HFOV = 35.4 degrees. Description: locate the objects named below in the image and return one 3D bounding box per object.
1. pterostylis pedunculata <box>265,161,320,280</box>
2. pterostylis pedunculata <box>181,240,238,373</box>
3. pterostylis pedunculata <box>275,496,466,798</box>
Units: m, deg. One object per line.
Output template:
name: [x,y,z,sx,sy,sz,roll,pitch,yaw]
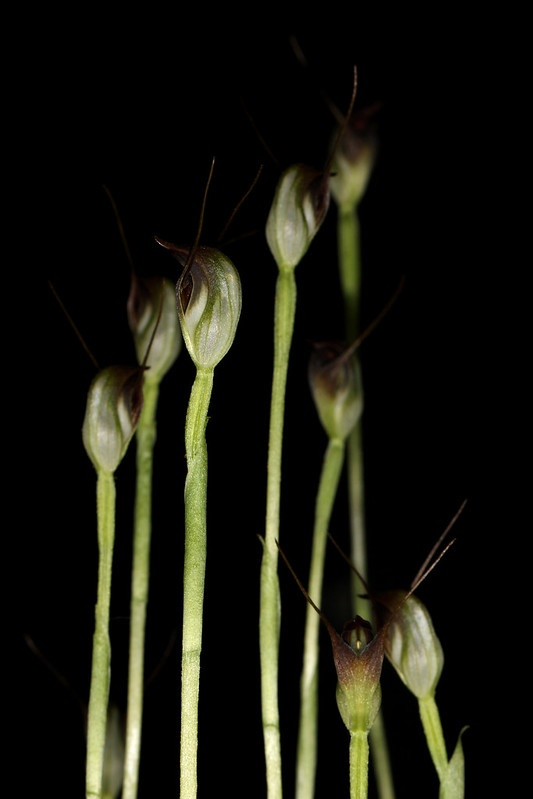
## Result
pterostylis pedunculata: [0.019,-0.131,0.615,0.043,0.081,0.019,-3,-12,19]
pterostylis pedunculata: [-0.038,-0.061,0.554,0.042,0.084,0.015,5,-11,-13]
pterostylis pedunculata: [0.082,0.168,0.600,0.150,0.226,0.160,2,-14,1]
